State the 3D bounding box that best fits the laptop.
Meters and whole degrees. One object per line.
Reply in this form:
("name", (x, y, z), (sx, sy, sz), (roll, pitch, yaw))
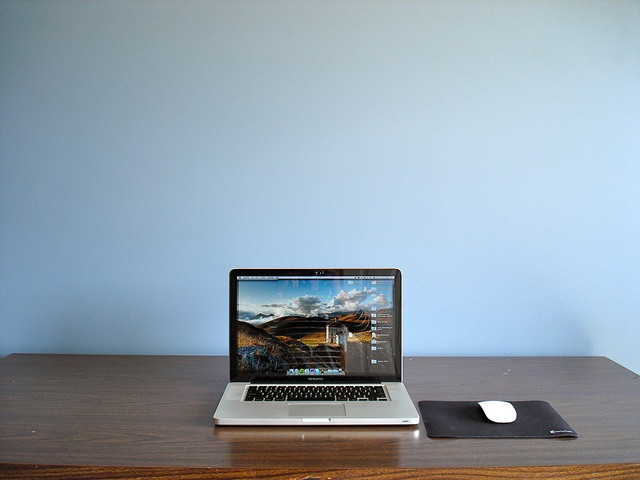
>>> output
("laptop", (-0.020, 0.314, 1.977), (0.828, 0.467, 0.505), (1, -13, 0))
